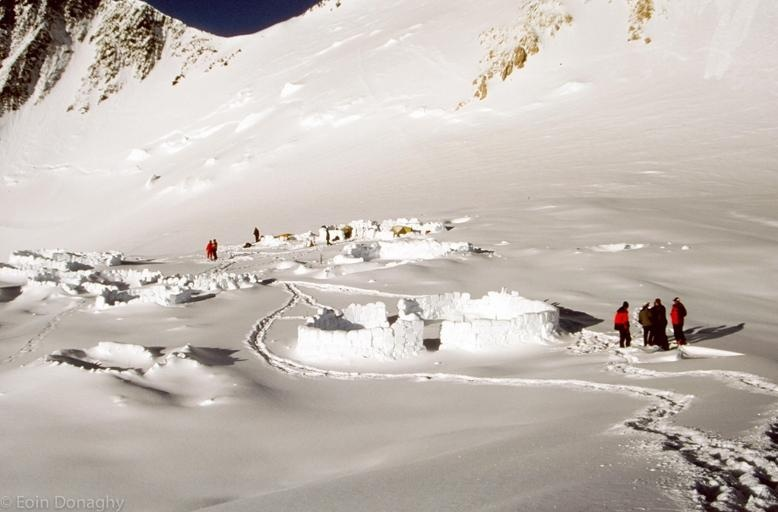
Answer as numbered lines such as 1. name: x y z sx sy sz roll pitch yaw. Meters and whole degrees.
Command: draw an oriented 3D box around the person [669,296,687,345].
1. person: 6.820 1.572 11.825 0.311 1.167 0.547 2 17 29
